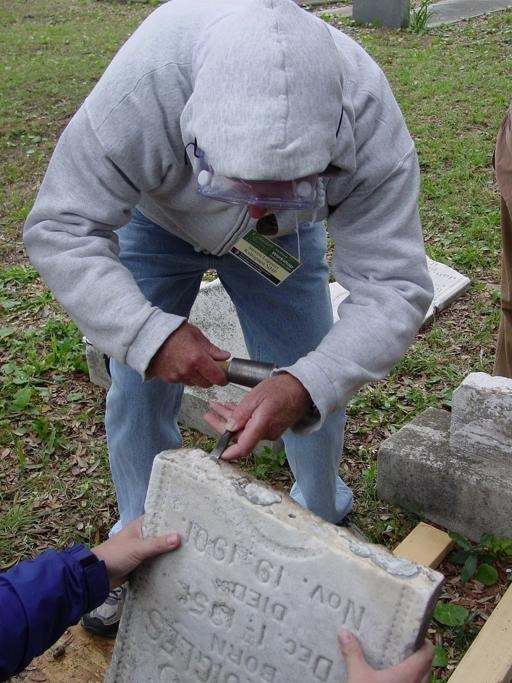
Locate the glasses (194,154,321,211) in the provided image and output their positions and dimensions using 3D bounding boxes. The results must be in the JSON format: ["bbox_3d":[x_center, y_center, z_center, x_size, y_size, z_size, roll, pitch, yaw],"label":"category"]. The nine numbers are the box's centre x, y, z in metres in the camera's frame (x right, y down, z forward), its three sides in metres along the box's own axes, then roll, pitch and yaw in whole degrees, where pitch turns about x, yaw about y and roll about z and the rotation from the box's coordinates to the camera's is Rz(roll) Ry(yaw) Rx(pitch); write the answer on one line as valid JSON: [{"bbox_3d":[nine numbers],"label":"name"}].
[{"bbox_3d":[0.005,-0.296,1.177,0.157,0.068,0.177,1,32,-8],"label":"glasses"}]
